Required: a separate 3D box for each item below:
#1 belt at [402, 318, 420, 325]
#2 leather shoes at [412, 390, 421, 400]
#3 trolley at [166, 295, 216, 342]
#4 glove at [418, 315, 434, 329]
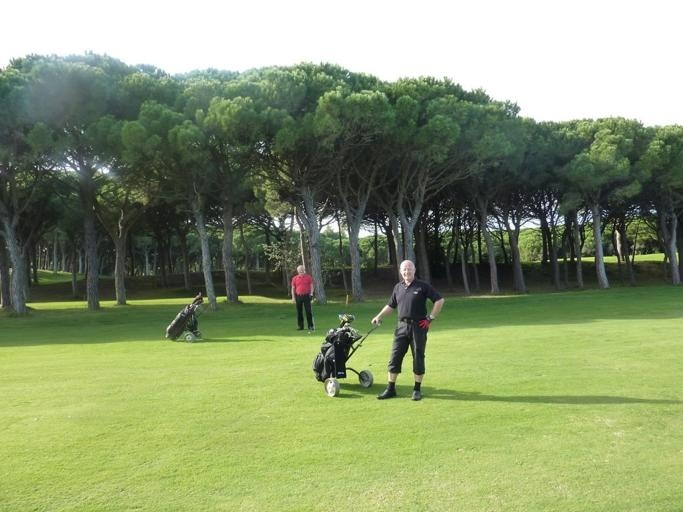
[{"bbox_3d":[1.439,1.342,13.091,0.336,0.102,0.084,-1,3,12],"label":"belt"},{"bbox_3d":[1.539,2.827,13.009,0.190,0.175,0.372,-2,3,8],"label":"leather shoes"},{"bbox_3d":[-4.799,2.181,21.523,2.479,1.125,0.795,-22,-4,36],"label":"trolley"},{"bbox_3d":[1.741,1.351,13.065,0.276,0.284,0.354,-1,3,8],"label":"glove"}]
